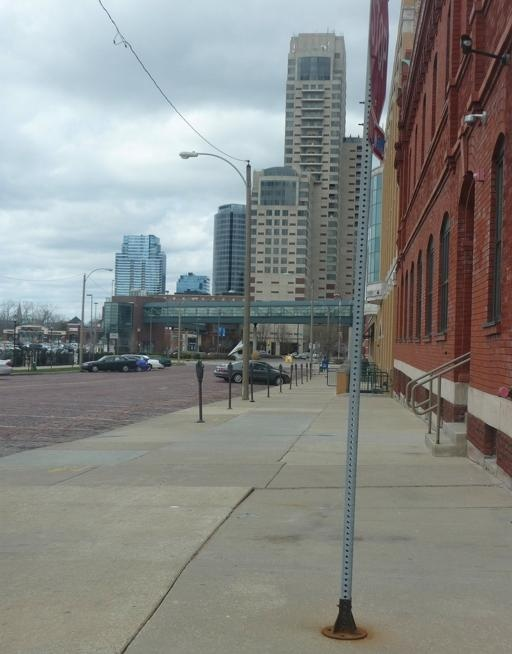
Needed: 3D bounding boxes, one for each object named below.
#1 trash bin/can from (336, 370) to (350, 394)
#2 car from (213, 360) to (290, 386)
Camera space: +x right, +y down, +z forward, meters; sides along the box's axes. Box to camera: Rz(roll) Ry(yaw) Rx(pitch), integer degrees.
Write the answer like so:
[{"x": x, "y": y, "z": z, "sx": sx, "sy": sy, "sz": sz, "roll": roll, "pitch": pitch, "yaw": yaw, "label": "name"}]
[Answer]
[{"x": 3.205, "y": 2.009, "z": 28.800, "sx": 0.396, "sy": 0.864, "sz": 1.391, "roll": 0, "pitch": -2, "yaw": 4, "label": "trash bin/can"}, {"x": -0.198, "y": 2.301, "z": 39.437, "sx": 3.586, "sy": 1.854, "sz": 5.792, "roll": 4, "pitch": 0, "yaw": 3, "label": "car"}]
